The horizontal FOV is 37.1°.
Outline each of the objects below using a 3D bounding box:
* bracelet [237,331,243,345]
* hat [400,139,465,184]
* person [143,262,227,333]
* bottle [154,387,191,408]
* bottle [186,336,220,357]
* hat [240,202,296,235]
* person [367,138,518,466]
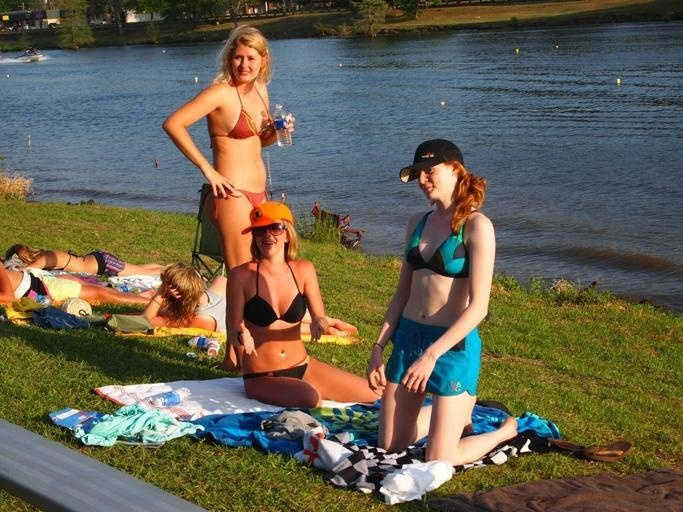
[{"bbox_3d":[-1.273,1.038,12.828,0.056,0.137,0.108,-6,21,-4],"label":"bracelet"},{"bbox_3d":[1.049,-1.141,12.259,0.754,0.379,0.490,-5,5,-17],"label":"hat"},{"bbox_3d":[-2.252,0.639,16.025,0.971,0.529,1.413,31,16,25],"label":"person"},{"bbox_3d":[-2.160,1.811,13.104,0.151,0.147,0.477,44,29,27],"label":"bottle"},{"bbox_3d":[-1.993,1.302,14.963,0.390,0.154,0.263,14,34,29],"label":"bottle"},{"bbox_3d":[-0.953,-0.487,13.278,0.647,0.477,0.479,8,13,14],"label":"hat"},{"bbox_3d":[1.184,0.546,12.109,1.518,3.764,1.080,12,15,28],"label":"person"}]
